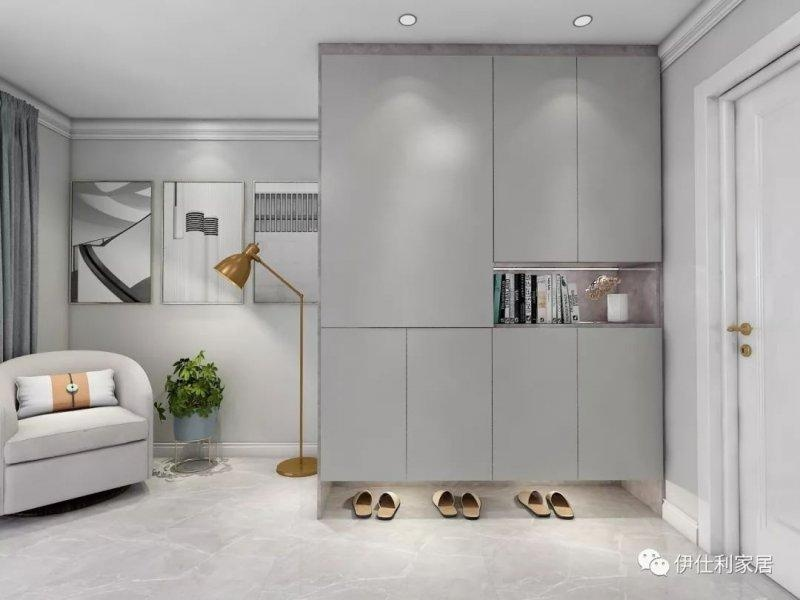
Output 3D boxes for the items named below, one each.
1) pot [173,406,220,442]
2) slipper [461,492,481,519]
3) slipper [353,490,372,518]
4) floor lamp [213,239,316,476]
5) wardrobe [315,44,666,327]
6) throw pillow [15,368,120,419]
[{"bbox_3d":[-1.585,0.963,4.807,0.301,0.205,0.290,0,-7,0],"label":"pot"},{"bbox_3d":[0.468,1.384,4.194,0.098,0.060,0.235,0,6,2],"label":"slipper"},{"bbox_3d":[-0.258,1.384,4.228,0.112,0.077,0.302,1,2,-3],"label":"slipper"},{"bbox_3d":[-1.018,0.457,4.826,0.726,1.753,0.640,0,0,-9],"label":"floor lamp"},{"bbox_3d":[0.547,-0.824,4.113,1.950,1.505,0.613,0,-2,-3],"label":"wardrobe"},{"bbox_3d":[-2.393,0.669,4.514,0.659,0.301,0.175,-3,-1,-31],"label":"throw pillow"}]
